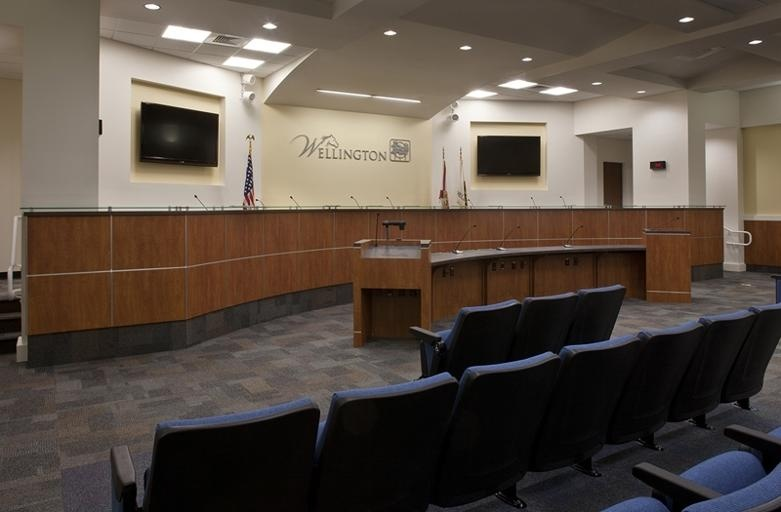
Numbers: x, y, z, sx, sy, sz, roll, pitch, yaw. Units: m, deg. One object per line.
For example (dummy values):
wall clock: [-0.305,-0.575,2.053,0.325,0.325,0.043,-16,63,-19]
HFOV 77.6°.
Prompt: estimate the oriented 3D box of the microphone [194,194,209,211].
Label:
microphone: [-3.980,-1.166,10.177,0.231,0.236,0.310,-7,11,-30]

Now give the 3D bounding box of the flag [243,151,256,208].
flag: [-3.138,-1.687,10.726,0.272,1.143,0.557,-4,9,-15]

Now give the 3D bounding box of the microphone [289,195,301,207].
microphone: [-2.262,-1.300,11.447,0.243,0.245,0.348,-3,10,-11]

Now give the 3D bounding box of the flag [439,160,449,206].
flag: [1.509,-2.051,13.645,0.258,1.298,0.705,0,9,6]

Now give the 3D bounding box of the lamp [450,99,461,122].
lamp: [1.889,-4.158,13.953,0.192,0.573,0.474,6,11,38]

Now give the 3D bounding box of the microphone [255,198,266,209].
microphone: [-2.962,-1.212,11.043,0.200,0.186,0.262,-3,10,-9]

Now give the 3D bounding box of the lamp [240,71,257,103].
lamp: [-3.126,-3.701,10.671,0.332,0.598,0.391,-4,9,-15]

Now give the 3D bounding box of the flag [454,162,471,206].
flag: [2.130,-2.077,14.020,0.355,1.302,0.623,4,11,33]

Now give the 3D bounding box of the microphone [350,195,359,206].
microphone: [-0.892,-1.411,12.366,0.309,0.265,0.081,-9,12,-39]
